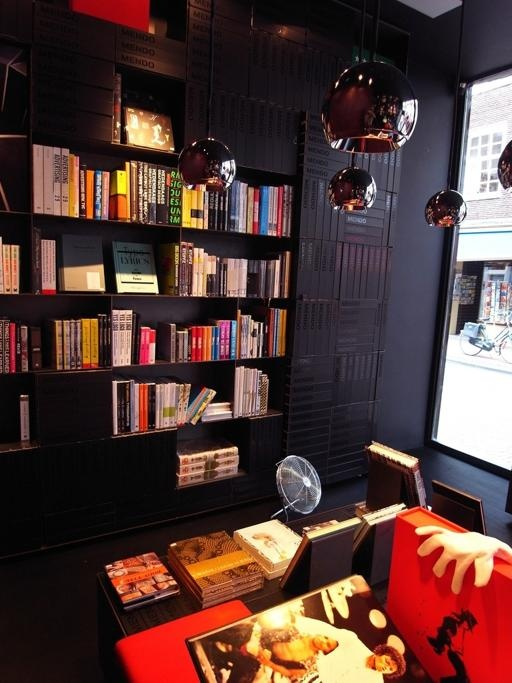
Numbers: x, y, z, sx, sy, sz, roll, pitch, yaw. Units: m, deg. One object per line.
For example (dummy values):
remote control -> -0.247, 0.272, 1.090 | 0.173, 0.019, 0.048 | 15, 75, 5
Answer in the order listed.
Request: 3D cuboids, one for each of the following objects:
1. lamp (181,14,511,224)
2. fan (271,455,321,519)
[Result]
lamp -> 0.507, -1.345, 3.048 | 1.824, 1.673, 0.601 | -6, 16, -27
fan -> 0.222, 0.839, 2.926 | 0.298, 0.369, 0.213 | 20, -38, -27
